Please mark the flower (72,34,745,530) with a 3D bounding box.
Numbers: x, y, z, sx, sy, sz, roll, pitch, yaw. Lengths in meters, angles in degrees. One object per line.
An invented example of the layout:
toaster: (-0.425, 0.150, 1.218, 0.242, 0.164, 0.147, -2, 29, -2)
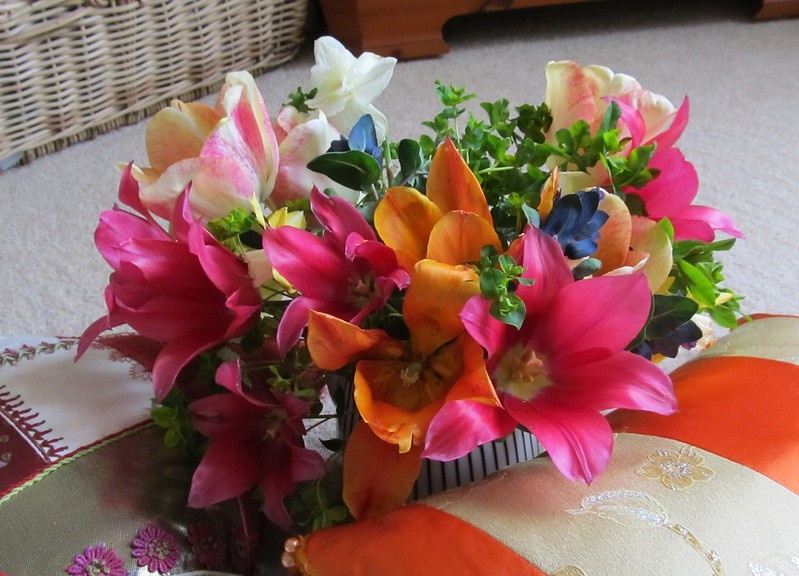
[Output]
flower: (-0.018, 0.006, 0.607, 0.429, 0.257, 0.425, -20, 64, -11)
